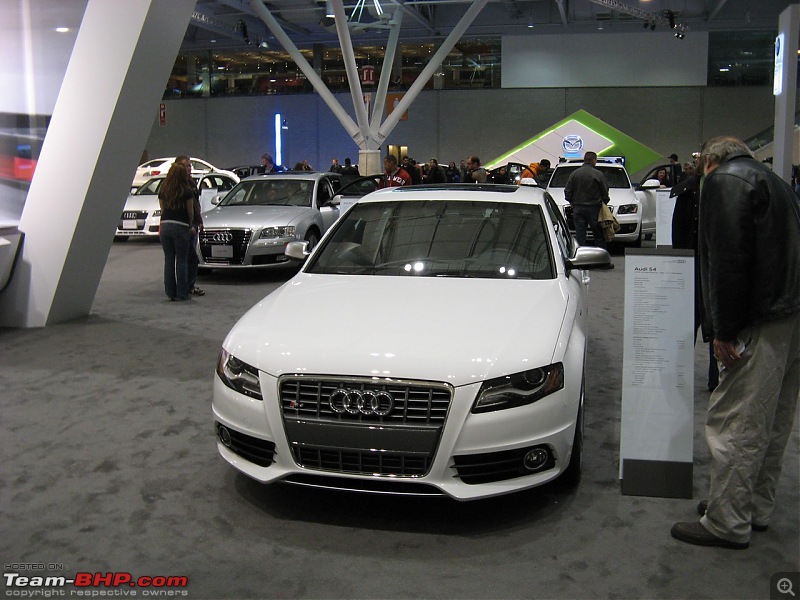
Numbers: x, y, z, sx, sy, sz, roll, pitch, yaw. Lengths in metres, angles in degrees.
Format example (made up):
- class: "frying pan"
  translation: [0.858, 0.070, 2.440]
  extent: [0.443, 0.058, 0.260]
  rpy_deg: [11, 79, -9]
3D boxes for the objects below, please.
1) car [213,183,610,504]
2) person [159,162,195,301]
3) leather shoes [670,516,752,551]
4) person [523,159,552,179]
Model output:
- class: "car"
  translation: [0.308, 0.042, 4.238]
  extent: [1.542, 1.115, 3.091]
  rpy_deg: [2, 13, 12]
- class: "person"
  translation: [-3.588, -1.087, 9.247]
  extent: [0.617, 2.240, 0.432]
  rpy_deg: [-1, 8, -3]
- class: "leather shoes"
  translation: [1.592, 1.156, 2.914]
  extent: [0.327, 0.149, 0.140]
  rpy_deg: [8, 9, 17]
- class: "person"
  translation: [4.363, -4.128, 18.121]
  extent: [0.766, 0.384, 1.062]
  rpy_deg: [-7, 3, 8]
